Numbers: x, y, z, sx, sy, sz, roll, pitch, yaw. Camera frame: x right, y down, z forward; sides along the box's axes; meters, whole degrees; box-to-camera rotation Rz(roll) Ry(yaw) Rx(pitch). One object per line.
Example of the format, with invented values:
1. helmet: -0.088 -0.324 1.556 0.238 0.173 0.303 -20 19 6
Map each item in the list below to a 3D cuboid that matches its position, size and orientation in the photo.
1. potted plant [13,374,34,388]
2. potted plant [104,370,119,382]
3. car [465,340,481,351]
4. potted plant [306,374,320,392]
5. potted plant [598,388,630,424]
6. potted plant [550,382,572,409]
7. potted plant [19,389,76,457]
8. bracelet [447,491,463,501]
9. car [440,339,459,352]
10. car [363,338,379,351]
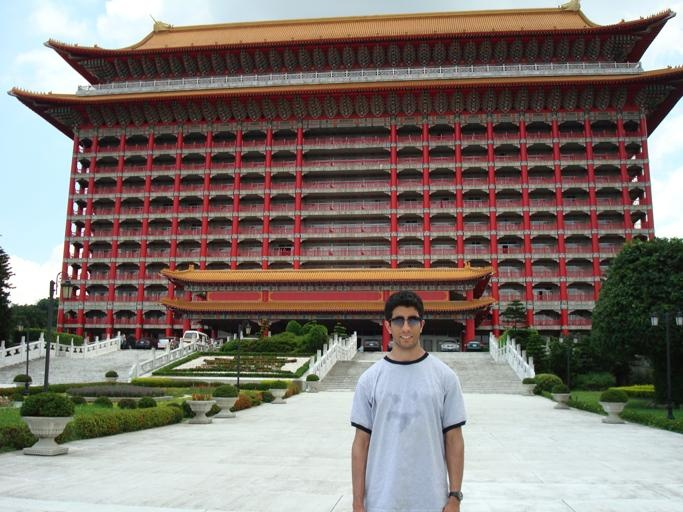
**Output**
1. potted plant: -16.615 6.461 32.599 0.682 0.672 3.304 5 -13 -29
2. potted plant: -13.860 7.263 37.711 0.851 0.710 0.797 -2 -6 9
3. car: 10.432 7.210 50.141 0.869 0.569 1.868 -1 -13 2
4. potted plant: -1.722 7.339 36.051 0.881 0.873 0.845 -6 -16 22
5. potted plant: 9.970 5.611 23.391 1.267 1.260 1.177 0 -13 0
6. potted plant: 9.901 6.363 28.344 0.980 0.970 0.888 -2 -17 17
7. potted plant: -8.126 4.646 17.347 1.571 1.473 1.456 -7 -17 15
8. bracelet: 1.855 3.901 10.151 0.235 0.120 0.163 9 -17 -9
9. car: 8.765 7.411 51.514 1.138 0.678 2.182 -2 -14 6
10. car: 2.374 7.424 52.165 1.162 0.775 2.354 0 -2 8
